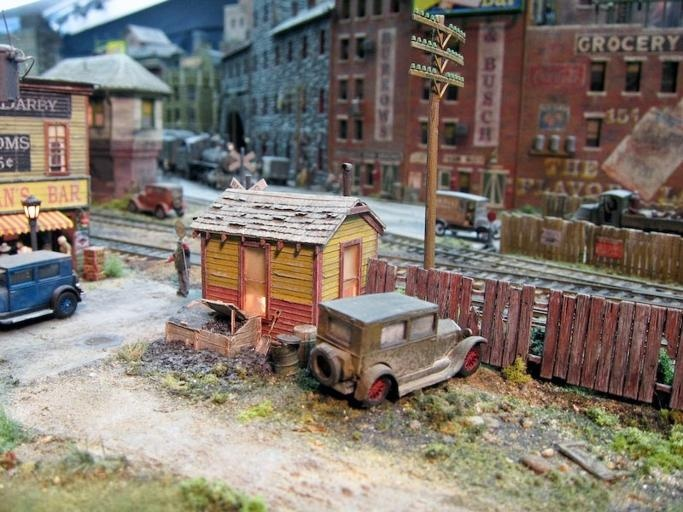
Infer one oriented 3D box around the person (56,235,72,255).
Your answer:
[{"bbox_3d":[-10.164,-0.396,30.276,0.484,0.683,0.946,-2,11,-19],"label":"person"}]
